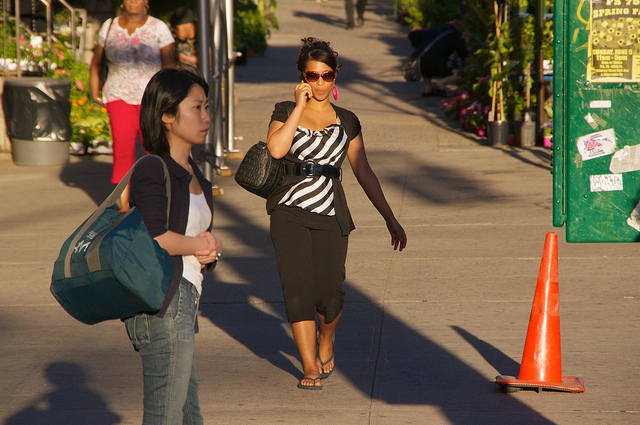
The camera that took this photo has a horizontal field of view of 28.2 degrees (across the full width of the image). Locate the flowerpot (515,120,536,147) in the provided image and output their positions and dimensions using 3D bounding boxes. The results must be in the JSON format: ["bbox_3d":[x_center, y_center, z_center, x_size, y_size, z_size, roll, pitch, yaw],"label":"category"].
[{"bbox_3d":[3.163,-1.214,19.542,0.400,0.372,0.382,2,2,27],"label":"flowerpot"}]

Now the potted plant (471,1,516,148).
[{"bbox_3d":[2.759,-2.228,19.953,0.617,2.176,1.461,2,17,6],"label":"potted plant"}]

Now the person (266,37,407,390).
[{"bbox_3d":[-0.024,0.010,11.835,1.007,3.054,1.197,9,19,26],"label":"person"}]

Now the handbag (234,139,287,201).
[{"bbox_3d":[-0.545,-0.403,11.991,0.540,0.545,0.397,31,-1,-5],"label":"handbag"}]

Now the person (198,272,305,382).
[{"bbox_3d":[-0.733,1.117,12.966,1.354,0.864,0.393,0,-3,-15],"label":"person"}]

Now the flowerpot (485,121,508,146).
[{"bbox_3d":[2.744,-1.227,19.749,0.381,0.260,0.365,-1,2,-6],"label":"flowerpot"}]

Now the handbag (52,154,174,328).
[{"bbox_3d":[-1.529,0.147,10.377,0.757,1.258,0.882,15,-17,-34],"label":"handbag"}]

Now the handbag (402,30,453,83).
[{"bbox_3d":[2.102,-3.089,25.502,0.686,1.054,1.194,-1,16,-5],"label":"handbag"}]

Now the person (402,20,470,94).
[{"bbox_3d":[2.318,-2.988,25.443,1.274,1.444,1.959,1,16,3],"label":"person"}]
